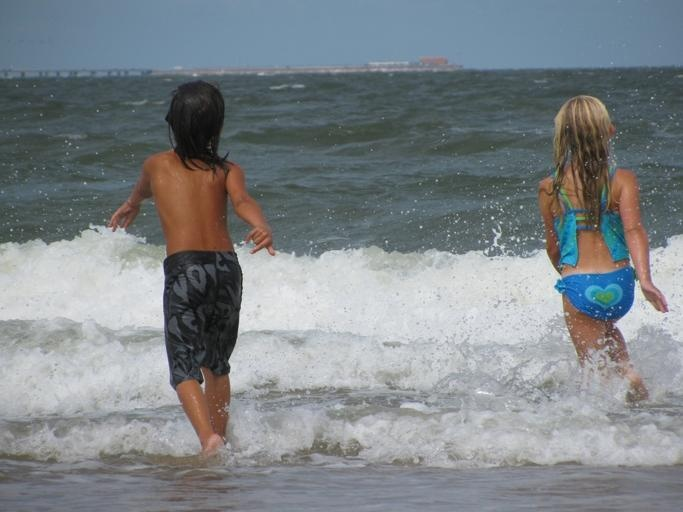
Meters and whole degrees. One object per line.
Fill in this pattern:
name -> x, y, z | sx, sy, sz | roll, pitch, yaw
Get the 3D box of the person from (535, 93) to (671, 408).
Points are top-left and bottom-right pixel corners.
person -> 2.163, -0.056, 9.105 | 0.928, 2.569, 0.531 | -4, 10, 14
